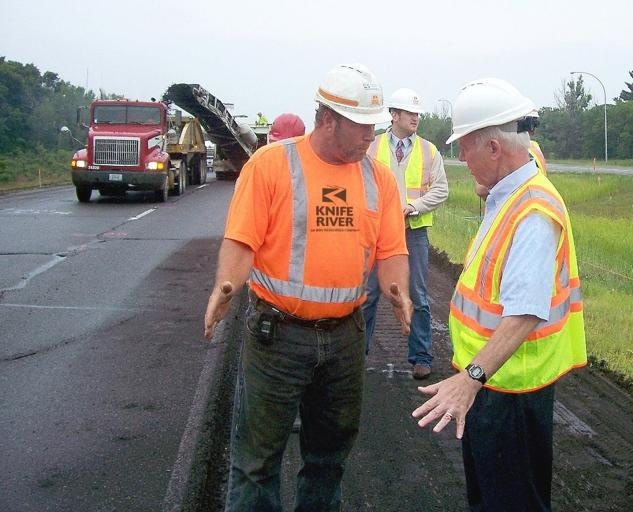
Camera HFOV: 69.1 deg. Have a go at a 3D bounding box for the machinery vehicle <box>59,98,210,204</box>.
[{"bbox_3d":[-7.094,-4.183,18.466,4.404,3.857,5.617,-3,11,-18],"label":"machinery vehicle"}]
